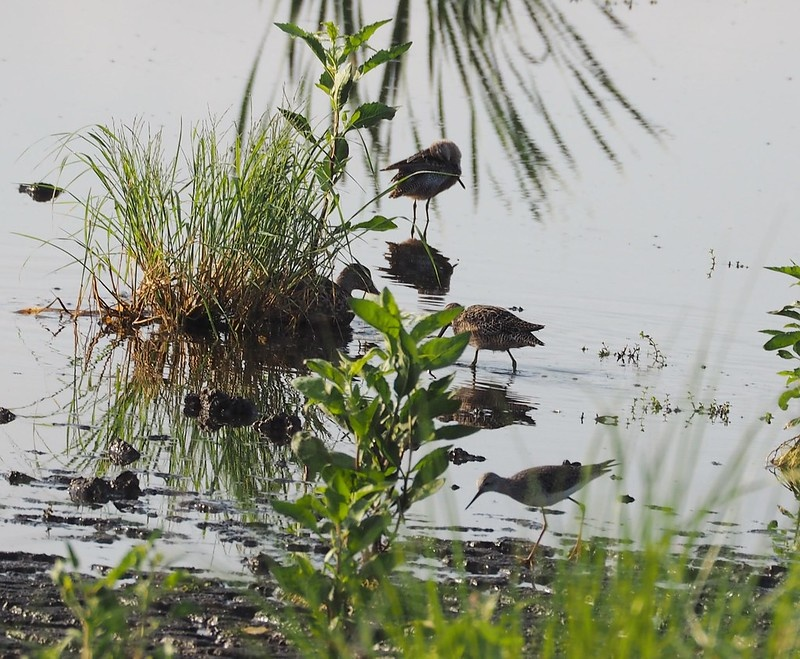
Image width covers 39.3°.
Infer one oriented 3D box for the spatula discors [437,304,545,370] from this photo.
[{"bbox_3d":[0.682,0.020,8.538,1.068,0.477,0.438,-9,-8,38],"label":"spatula discors"}]
